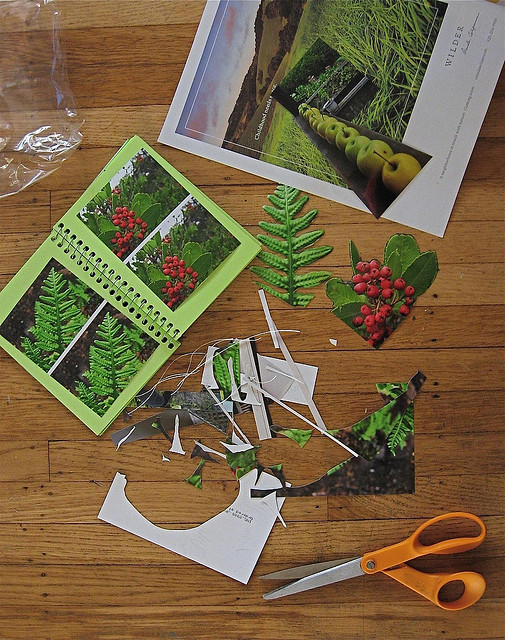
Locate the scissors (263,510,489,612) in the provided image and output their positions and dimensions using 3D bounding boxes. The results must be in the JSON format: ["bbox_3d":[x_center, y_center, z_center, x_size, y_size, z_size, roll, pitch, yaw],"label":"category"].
[{"bbox_3d":[0.116,0.307,0.825,0.337,0.104,0.062,-4,22,4],"label":"scissors"}]

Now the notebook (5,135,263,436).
[{"bbox_3d":[-0.137,-0.048,0.817,0.345,0.118,0.374,-15,65,10],"label":"notebook"}]

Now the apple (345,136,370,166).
[{"bbox_3d":[0.132,-0.212,0.795,0.026,0.024,0.022,30,33,-36],"label":"apple"}]

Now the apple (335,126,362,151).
[{"bbox_3d":[0.116,-0.230,0.796,0.027,0.033,0.036,69,24,-4],"label":"apple"}]

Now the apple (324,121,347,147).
[{"bbox_3d":[0.104,-0.234,0.796,0.024,0.023,0.022,12,49,-50],"label":"apple"}]

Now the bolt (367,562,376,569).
[{"bbox_3d":[0.145,0.300,0.779,0.010,0.007,0.006,5,51,-4],"label":"bolt"}]
